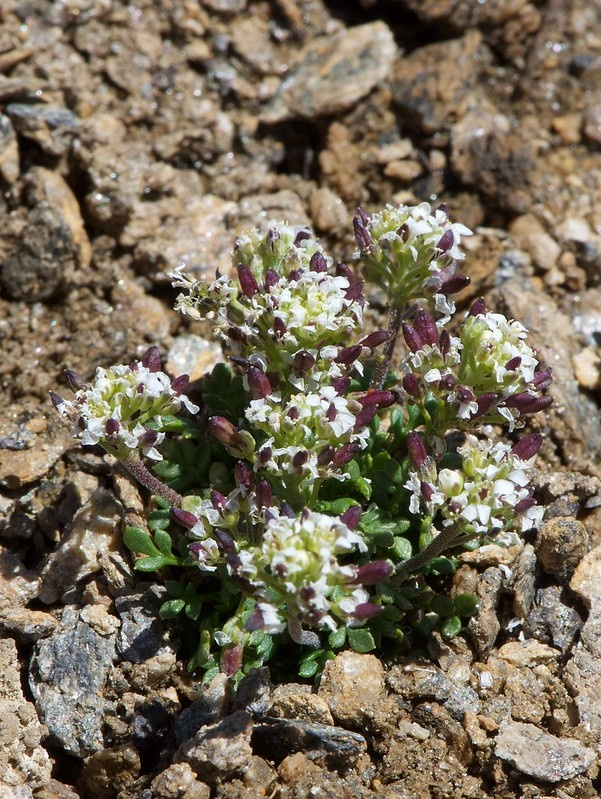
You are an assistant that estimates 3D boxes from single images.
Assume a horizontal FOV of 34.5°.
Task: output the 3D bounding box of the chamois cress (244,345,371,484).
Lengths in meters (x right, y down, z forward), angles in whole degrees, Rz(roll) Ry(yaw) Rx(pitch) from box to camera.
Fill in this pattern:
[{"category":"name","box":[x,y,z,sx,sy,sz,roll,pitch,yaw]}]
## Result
[{"category":"chamois cress","box":[0.021,0.064,4.233,0.486,0.482,0.423,-26,63,-28]}]
